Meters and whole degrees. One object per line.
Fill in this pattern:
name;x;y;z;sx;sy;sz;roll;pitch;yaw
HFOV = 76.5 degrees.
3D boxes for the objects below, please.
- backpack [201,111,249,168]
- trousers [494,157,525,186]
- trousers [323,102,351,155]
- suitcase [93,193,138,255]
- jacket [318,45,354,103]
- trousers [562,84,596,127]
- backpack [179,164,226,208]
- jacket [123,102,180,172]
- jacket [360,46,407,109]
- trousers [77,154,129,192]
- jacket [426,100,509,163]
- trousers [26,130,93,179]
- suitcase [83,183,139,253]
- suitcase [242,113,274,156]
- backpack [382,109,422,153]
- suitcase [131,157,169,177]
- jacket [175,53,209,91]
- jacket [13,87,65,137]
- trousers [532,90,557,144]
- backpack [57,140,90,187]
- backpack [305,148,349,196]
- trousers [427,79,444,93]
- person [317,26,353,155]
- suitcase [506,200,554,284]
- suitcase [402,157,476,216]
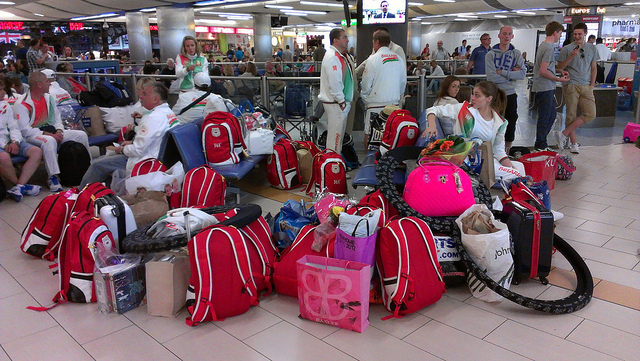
backpack;-1.272;-0.532;5.599;0.726;0.702;0.396;-11;14;-14
trousers;2.411;-0.065;5.439;0.304;0.108;0.322;-13;-17;-28
trousers;0.265;-0.862;6.658;0.365;0.806;0.338;9;21;29
suitcase;-2.053;0.469;4.168;0.298;0.531;0.357;-17;40;-35
jacket;0.278;-1.752;6.727;0.667;0.905;1.028;1;19;3
trousers;4.685;-1.374;7.501;0.559;0.778;0.313;5;19;19
backpack;-1.423;0.085;5.015;0.428;0.557;0.297;15;7;9
jacket;-2.278;-0.605;5.681;0.609;0.990;0.877;16;25;2
jacket;1.030;-1.662;6.564;0.626;0.944;0.280;-9;19;-20
trousers;-2.950;-0.062;5.838;0.439;0.457;0.480;21;4;31
jacket;1.793;-0.586;5.023;0.843;0.993;0.322;-5;26;1
trousers;-4.282;-0.415;6.451;0.360;0.642;1.485;-3;7;21
suitcase;-2.120;0.418;4.221;0.203;0.522;0.546;-15;32;-34
suitcase;-0.782;-0.634;5.927;0.404;0.567;0.267;-5;5;19
backpack;0.988;-0.582;4.970;0.514;0.632;0.363;-7;18;-31
suitcase;-2.104;-0.167;5.157;0.428;0.192;0.243;-9;19;-23
jacket;-2.202;-1.898;7.196;0.586;0.687;0.406;-1;20;-31
jacket;-4.331;-1.053;6.423;0.581;0.713;0.723;13;23;17
trousers;3.972;-1.140;7.303;0.376;0.948;0.352;4;19;16
backpack;-3.721;-0.244;6.287;0.368;0.682;0.615;7;13;31
backpack;-0.055;-0.115;5.866;0.497;0.653;0.662;-7;11;-35
trousers;2.088;-1.740;7.531;0.253;0.398;0.380;-1;12;8
person;0.271;-1.422;6.590;0.577;2.013;1.215;-1;18;2
suitcase;2.111;0.654;4.181;0.379;0.799;0.273;-4;18;-6
suitcase;1.234;0.051;4.332;0.732;0.561;0.348;0;4;-7
